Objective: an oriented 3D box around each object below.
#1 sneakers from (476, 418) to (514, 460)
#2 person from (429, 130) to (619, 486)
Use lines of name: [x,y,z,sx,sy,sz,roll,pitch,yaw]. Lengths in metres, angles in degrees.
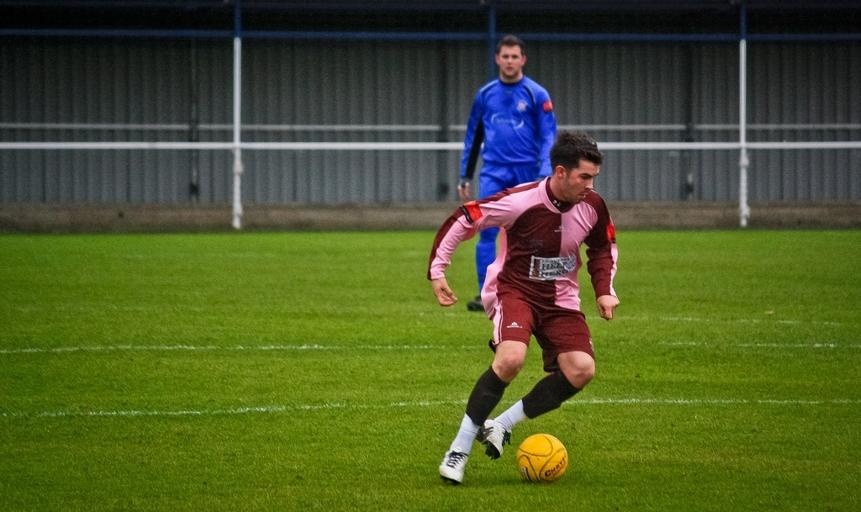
sneakers: [0.487,1.399,9.602,0.207,0.140,0.393,-19,31,-13]
person: [0.748,0.357,9.712,1.480,2.611,0.743,-1,6,-6]
